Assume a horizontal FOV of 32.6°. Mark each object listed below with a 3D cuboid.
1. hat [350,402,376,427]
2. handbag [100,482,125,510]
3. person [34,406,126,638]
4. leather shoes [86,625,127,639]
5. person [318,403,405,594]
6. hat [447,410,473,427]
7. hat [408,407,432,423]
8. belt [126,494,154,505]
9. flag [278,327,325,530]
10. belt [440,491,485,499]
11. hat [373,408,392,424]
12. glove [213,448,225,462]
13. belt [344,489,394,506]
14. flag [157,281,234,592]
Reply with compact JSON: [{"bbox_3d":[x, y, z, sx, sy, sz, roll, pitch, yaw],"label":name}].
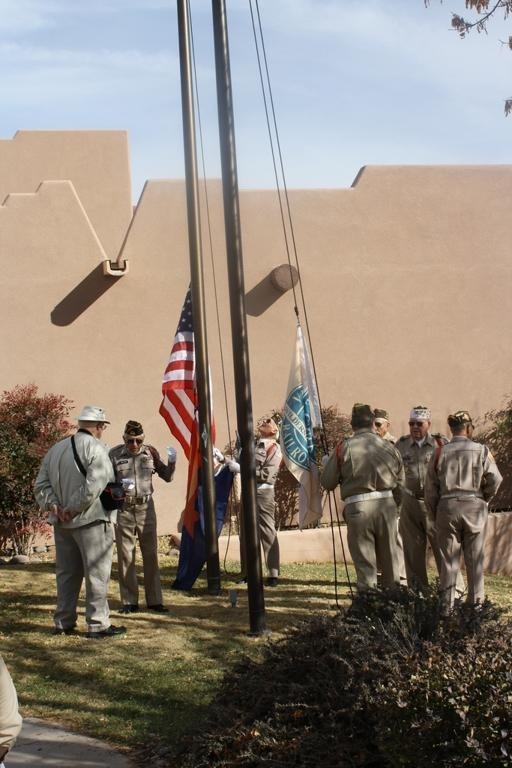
[{"bbox_3d":[0.898,0.256,7.343,0.155,0.207,0.207,-2,7,1],"label":"hat"},{"bbox_3d":[-1.257,1.012,7.768,0.193,0.233,0.243,0,-24,-1],"label":"handbag"},{"bbox_3d":[-1.522,1.172,7.704,0.774,1.984,0.519,-2,-4,45],"label":"person"},{"bbox_3d":[-1.273,2.117,7.474,0.324,0.131,0.116,-2,3,-25],"label":"leather shoes"},{"bbox_3d":[0.890,0.882,7.028,0.699,1.422,0.599,2,-3,-8],"label":"person"},{"bbox_3d":[1.881,0.311,8.056,0.208,0.115,0.314,0,3,21],"label":"hat"},{"bbox_3d":[1.713,0.314,9.260,0.155,0.211,0.210,0,-2,15],"label":"hat"},{"bbox_3d":[-1.168,1.159,8.799,0.334,0.124,0.104,4,-4,-36],"label":"belt"},{"bbox_3d":[0.437,0.390,8.464,0.375,1.993,0.525,1,-3,2],"label":"flag"},{"bbox_3d":[1.850,0.984,7.800,0.419,0.094,0.225,1,-3,9],"label":"belt"},{"bbox_3d":[1.415,0.318,9.835,0.221,0.225,0.294,0,-8,8],"label":"hat"},{"bbox_3d":[-0.442,0.837,10.329,0.059,0.173,0.125,-15,31,-28],"label":"glove"},{"bbox_3d":[0.912,0.908,7.045,0.397,0.125,0.265,2,-3,-2],"label":"belt"},{"bbox_3d":[-0.701,0.623,10.417,0.870,3.517,0.823,1,-3,11],"label":"flag"}]
